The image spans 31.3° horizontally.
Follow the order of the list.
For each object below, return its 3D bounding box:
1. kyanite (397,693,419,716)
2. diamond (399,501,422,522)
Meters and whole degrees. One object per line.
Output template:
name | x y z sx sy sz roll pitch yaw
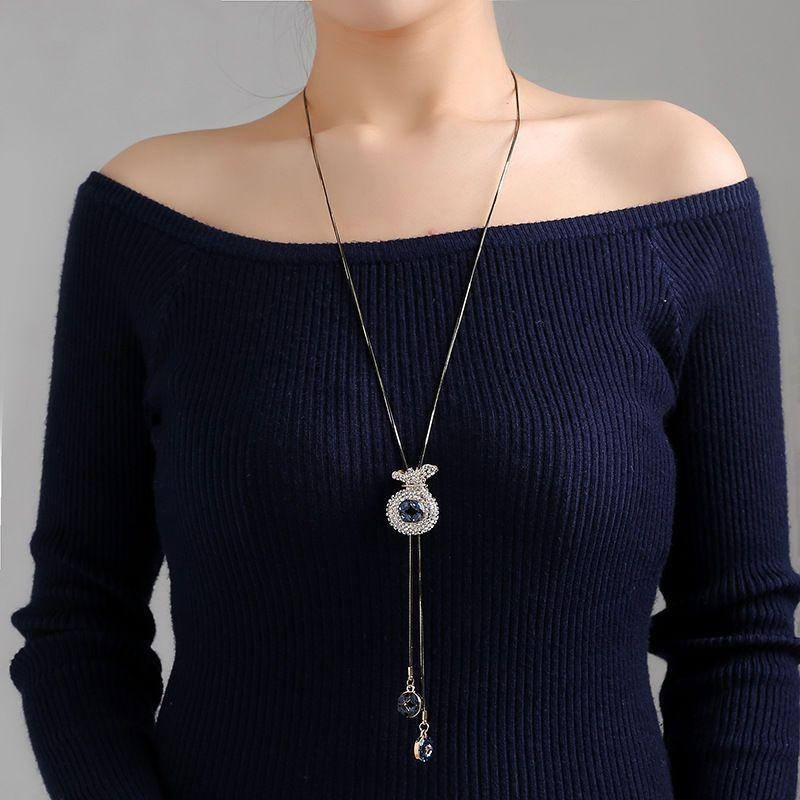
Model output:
kyanite | 0.012 0.316 1.493 0.021 0.008 0.024 -2 84 -15
diamond | 0.012 0.117 1.495 0.024 0.015 0.021 -3 69 3
